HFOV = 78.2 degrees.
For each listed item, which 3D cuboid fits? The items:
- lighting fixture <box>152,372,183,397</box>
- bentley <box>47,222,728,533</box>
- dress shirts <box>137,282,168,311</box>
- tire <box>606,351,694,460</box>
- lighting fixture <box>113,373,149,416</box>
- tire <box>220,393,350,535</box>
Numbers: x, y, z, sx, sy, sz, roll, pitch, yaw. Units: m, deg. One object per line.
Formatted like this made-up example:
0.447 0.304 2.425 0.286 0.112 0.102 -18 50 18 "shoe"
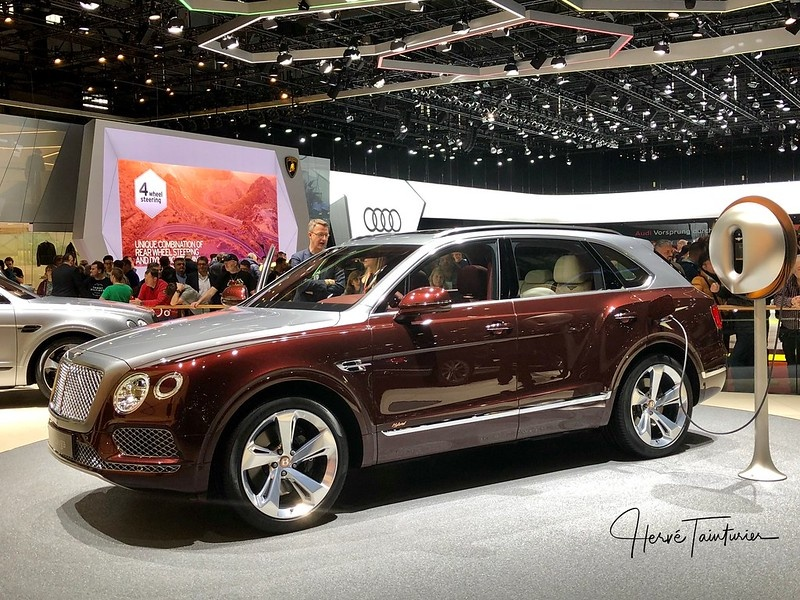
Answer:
-1.336 0.493 2.863 0.143 0.132 0.029 8 -13 8 "lighting fixture"
0.211 0.494 4.445 5.314 1.725 2.382 -1 -1 -25 "bentley"
-5.270 -0.090 10.591 0.546 0.639 0.653 -5 -3 14 "dress shirts"
2.206 0.928 4.401 1.029 0.945 0.301 4 -1 -33 "tire"
-1.573 0.551 2.896 0.230 0.234 0.059 -1 -1 19 "lighting fixture"
-0.783 1.047 3.195 0.850 0.784 0.264 7 -16 -44 "tire"
